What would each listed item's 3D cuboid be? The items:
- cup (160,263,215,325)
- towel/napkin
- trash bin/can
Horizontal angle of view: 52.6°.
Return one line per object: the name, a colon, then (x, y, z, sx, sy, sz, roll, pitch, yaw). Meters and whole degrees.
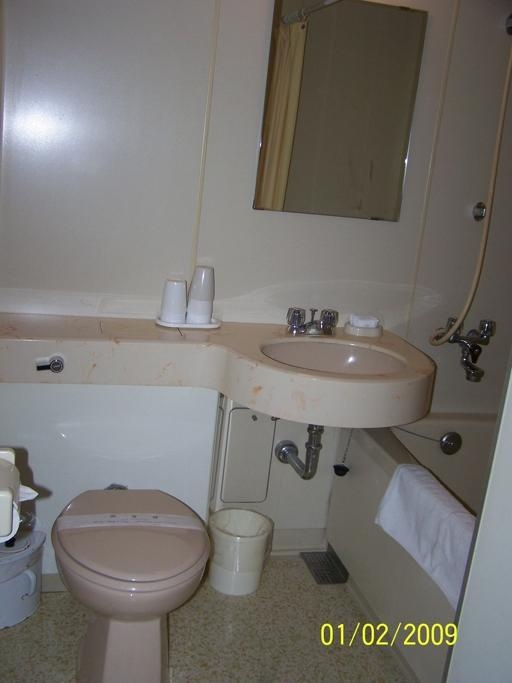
cup: (-0.200, -0.129, 1.439, 0.193, 0.200, 0.105, -3, 18, -16)
towel/napkin: (0.402, 0.446, 1.219, 0.117, 0.201, 0.357, 6, 9, -8)
trash bin/can: (-0.075, 0.629, 1.666, 0.225, 0.245, 0.218, 4, 11, -22)
